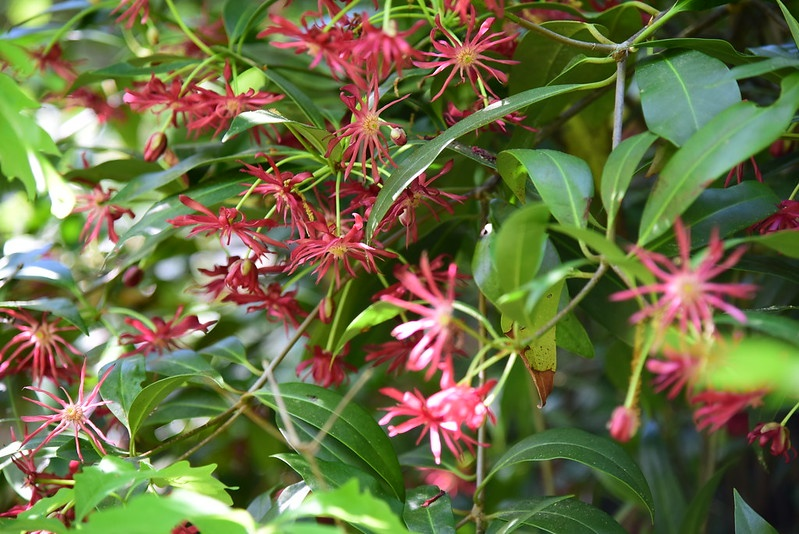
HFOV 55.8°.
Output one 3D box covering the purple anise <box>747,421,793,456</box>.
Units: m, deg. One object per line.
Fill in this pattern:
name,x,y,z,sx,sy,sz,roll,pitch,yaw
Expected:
purple anise,0.525,0.243,1.078,0.051,0.053,0.026,32,61,8
